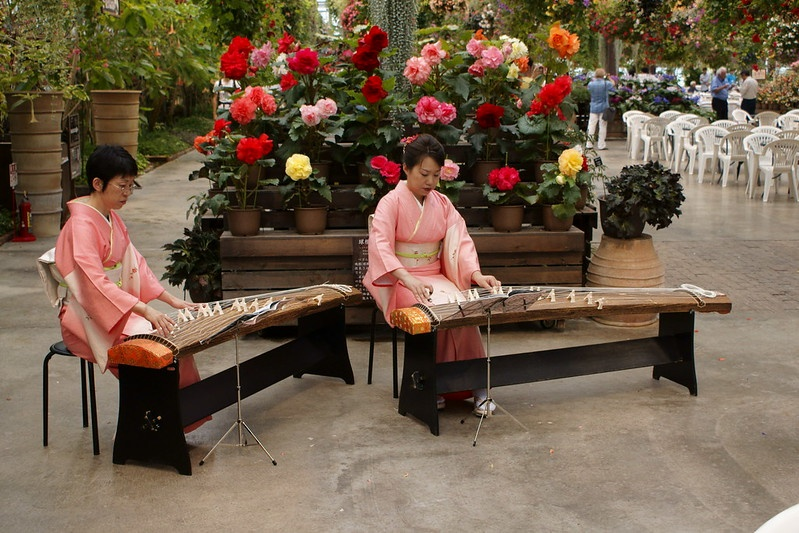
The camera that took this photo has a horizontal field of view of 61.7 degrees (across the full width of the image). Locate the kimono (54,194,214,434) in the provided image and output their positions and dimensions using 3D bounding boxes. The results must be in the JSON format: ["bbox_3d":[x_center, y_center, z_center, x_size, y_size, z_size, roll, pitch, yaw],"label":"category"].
[{"bbox_3d":[-1.625,0.204,3.966,0.941,1.256,0.636,1,10,5],"label":"kimono"}]

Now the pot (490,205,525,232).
[{"bbox_3d":[0.885,-0.395,5.458,0.245,0.153,0.233,1,7,0],"label":"pot"}]

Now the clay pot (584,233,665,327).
[{"bbox_3d":[1.909,0.085,5.967,0.840,0.752,0.820,0,6,0],"label":"clay pot"}]

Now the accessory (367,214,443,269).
[{"bbox_3d":[0.048,-0.181,4.573,0.339,0.235,0.434,0,-1,-39],"label":"accessory"}]

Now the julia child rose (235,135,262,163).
[{"bbox_3d":[-1.153,-0.890,5.110,0.163,0.204,0.199,-6,11,-27],"label":"julia child rose"}]

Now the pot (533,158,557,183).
[{"bbox_3d":[1.223,-0.795,5.578,0.153,0.182,0.379,0,9,7],"label":"pot"}]

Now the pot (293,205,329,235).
[{"bbox_3d":[-0.688,-0.370,5.314,0.241,0.159,0.234,1,6,0],"label":"pot"}]

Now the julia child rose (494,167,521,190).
[{"bbox_3d":[0.867,-0.703,5.354,0.185,0.107,0.182,-37,58,-21],"label":"julia child rose"}]

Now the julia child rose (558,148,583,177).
[{"bbox_3d":[1.390,-0.840,5.384,0.196,0.219,0.236,1,10,13],"label":"julia child rose"}]

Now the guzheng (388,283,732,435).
[{"bbox_3d":[1.083,0.548,4.370,2.326,0.722,0.617,-3,3,-22],"label":"guzheng"}]

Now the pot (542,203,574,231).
[{"bbox_3d":[1.308,-0.401,5.498,0.244,0.216,0.184,1,10,9],"label":"pot"}]

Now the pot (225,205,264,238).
[{"bbox_3d":[-1.241,-0.365,5.351,0.264,0.220,0.246,-1,10,0],"label":"pot"}]

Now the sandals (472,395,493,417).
[{"bbox_3d":[0.544,0.877,4.206,0.090,0.066,0.167,0,-3,4],"label":"sandals"}]

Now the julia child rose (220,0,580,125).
[{"bbox_3d":[-0.076,-1.855,5.808,2.862,1.270,1.851,-3,9,-14],"label":"julia child rose"}]

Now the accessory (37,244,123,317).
[{"bbox_3d":[-2.020,0.074,3.948,0.409,0.362,0.165,3,8,-13],"label":"accessory"}]

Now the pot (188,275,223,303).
[{"bbox_3d":[-1.582,0.165,5.558,0.286,0.193,0.249,2,7,13],"label":"pot"}]

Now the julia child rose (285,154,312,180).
[{"bbox_3d":[-0.772,-0.764,5.105,0.209,0.194,0.122,0,-5,-4],"label":"julia child rose"}]

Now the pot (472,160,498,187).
[{"bbox_3d":[0.715,-0.796,5.706,0.220,0.168,0.209,1,6,0],"label":"pot"}]

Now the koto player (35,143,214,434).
[{"bbox_3d":[-1.611,-0.028,3.762,0.762,1.302,0.590,-6,11,-24],"label":"koto player"}]
